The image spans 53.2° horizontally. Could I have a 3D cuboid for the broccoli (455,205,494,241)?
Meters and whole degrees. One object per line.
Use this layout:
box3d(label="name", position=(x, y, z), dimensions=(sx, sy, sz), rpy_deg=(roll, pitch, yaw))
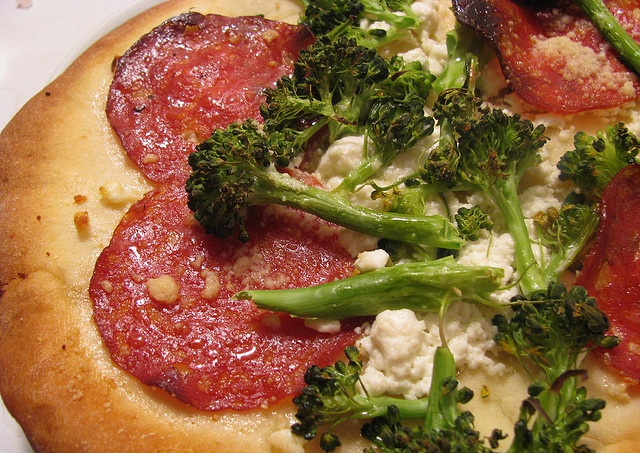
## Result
box3d(label="broccoli", position=(0.587, -0.021, 2.457), dimensions=(0.129, 0.048, 0.132), rpy_deg=(-17, 70, -4))

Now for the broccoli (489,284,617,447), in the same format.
box3d(label="broccoli", position=(0.847, 0.507, 2.276), dimensions=(0.315, 0.325, 0.457), rpy_deg=(33, 47, -23))

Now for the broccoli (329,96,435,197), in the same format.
box3d(label="broccoli", position=(0.180, -0.359, 2.516), dimensions=(0.507, 0.179, 0.241), rpy_deg=(-26, 60, -32))

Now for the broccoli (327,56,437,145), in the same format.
box3d(label="broccoli", position=(0.224, -0.545, 2.676), dimensions=(0.439, 0.305, 0.205), rpy_deg=(-26, 50, -5))

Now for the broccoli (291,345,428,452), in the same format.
box3d(label="broccoli", position=(0.142, 0.590, 2.212), dimensions=(0.420, 0.300, 0.200), rpy_deg=(2, 85, -8))
